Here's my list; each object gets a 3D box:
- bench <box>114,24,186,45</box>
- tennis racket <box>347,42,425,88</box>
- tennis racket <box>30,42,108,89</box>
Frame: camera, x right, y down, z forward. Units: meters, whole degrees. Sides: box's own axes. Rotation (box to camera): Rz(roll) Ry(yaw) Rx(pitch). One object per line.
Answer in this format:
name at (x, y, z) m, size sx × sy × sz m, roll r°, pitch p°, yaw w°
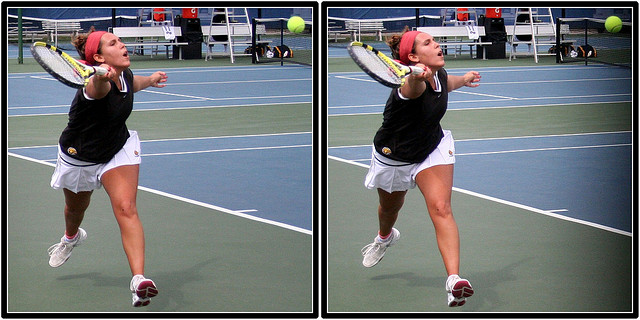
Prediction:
bench at (-8.745, -6.578, 21.448) m, size 3.163 × 0.911 × 1.189 m, roll -3°, pitch 20°, yaw -21°
tennis racket at (0.668, -1.054, 4.678) m, size 0.666 × 0.511 × 0.614 m, roll 9°, pitch 13°, yaw 42°
tennis racket at (-2.825, -1.071, 4.765) m, size 0.855 × 0.503 × 0.508 m, roll 8°, pitch 13°, yaw 39°
